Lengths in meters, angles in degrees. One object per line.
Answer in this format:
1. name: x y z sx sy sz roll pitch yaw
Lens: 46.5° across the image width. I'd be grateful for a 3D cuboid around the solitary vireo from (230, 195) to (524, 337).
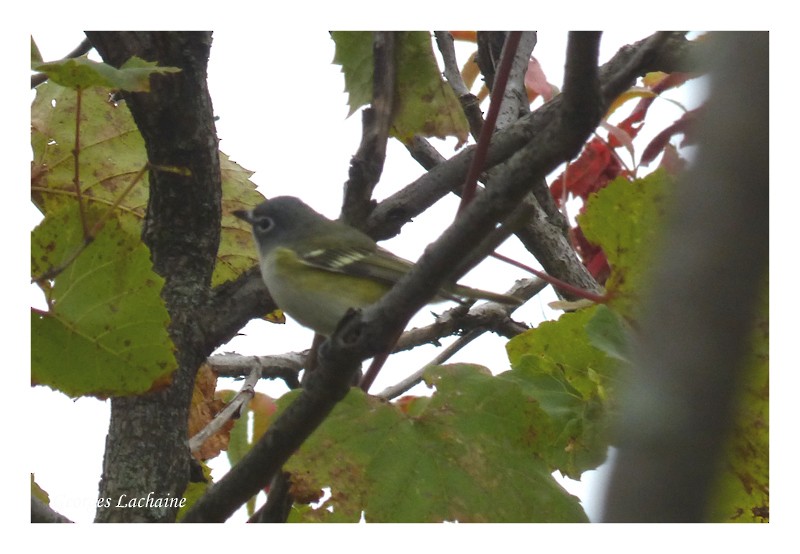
1. solitary vireo: -0.112 -0.027 3.994 1.159 0.601 0.332 0 -12 5
